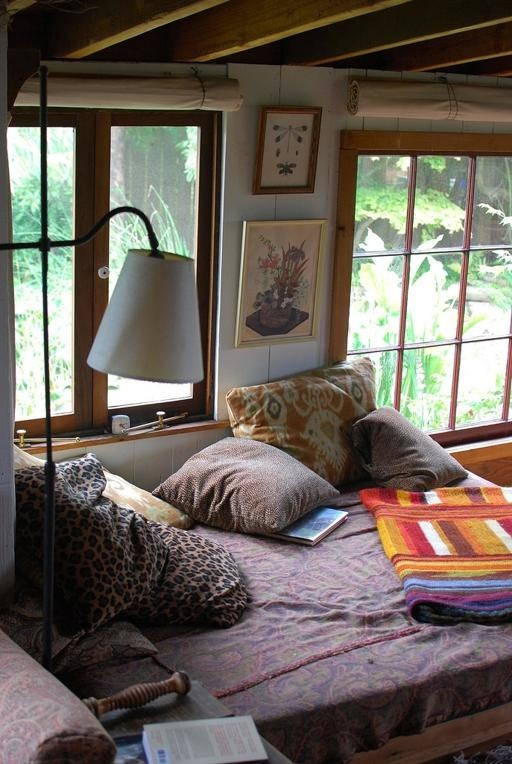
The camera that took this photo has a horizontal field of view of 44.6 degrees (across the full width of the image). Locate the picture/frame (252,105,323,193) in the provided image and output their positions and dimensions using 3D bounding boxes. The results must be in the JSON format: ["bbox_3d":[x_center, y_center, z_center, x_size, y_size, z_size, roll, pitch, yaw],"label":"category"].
[{"bbox_3d":[0.129,-1.016,2.727,0.318,0.349,0.016,18,25,40],"label":"picture/frame"}]

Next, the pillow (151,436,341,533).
[{"bbox_3d":[-0.035,0.410,2.490,0.719,0.180,0.702,8,8,3],"label":"pillow"}]

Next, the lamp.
[{"bbox_3d":[-0.294,-0.017,1.130,0.373,1.082,0.497,0,11,-12],"label":"lamp"}]

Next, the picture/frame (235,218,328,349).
[{"bbox_3d":[0.096,-0.474,2.862,0.588,0.675,0.031,-9,21,-37],"label":"picture/frame"}]

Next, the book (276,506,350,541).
[{"bbox_3d":[0.198,0.522,2.281,0.116,0.017,0.163,5,15,31],"label":"book"}]
